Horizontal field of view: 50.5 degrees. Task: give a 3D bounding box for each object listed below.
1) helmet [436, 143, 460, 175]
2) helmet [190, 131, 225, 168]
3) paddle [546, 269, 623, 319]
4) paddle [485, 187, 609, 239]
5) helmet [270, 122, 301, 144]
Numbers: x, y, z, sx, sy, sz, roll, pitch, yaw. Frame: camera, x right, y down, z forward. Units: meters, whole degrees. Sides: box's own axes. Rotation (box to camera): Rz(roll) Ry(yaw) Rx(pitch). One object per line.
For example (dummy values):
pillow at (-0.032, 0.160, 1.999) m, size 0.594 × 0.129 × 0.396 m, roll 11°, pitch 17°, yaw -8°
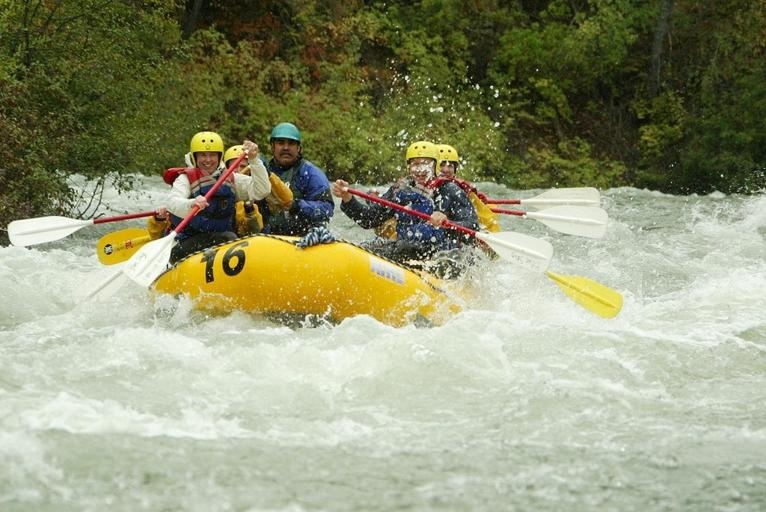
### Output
helmet at (0.841, -1.258, 10.335) m, size 0.348 × 0.413 × 0.434 m, roll 1°, pitch -12°, yaw -3°
helmet at (-1.903, -1.157, 8.844) m, size 0.315 × 0.388 × 0.408 m, roll 2°, pitch -4°, yaw -13°
paddle at (2.269, 0.427, 9.006) m, size 1.054 × 0.290 × 0.079 m, roll 29°, pitch 4°, yaw 32°
paddle at (1.807, -0.603, 10.305) m, size 0.126 × 0.677 × 2.336 m, roll -34°, pitch 27°, yaw -32°
helmet at (-1.116, -1.398, 9.248) m, size 0.299 × 0.246 × 0.285 m, roll 9°, pitch 27°, yaw 13°
